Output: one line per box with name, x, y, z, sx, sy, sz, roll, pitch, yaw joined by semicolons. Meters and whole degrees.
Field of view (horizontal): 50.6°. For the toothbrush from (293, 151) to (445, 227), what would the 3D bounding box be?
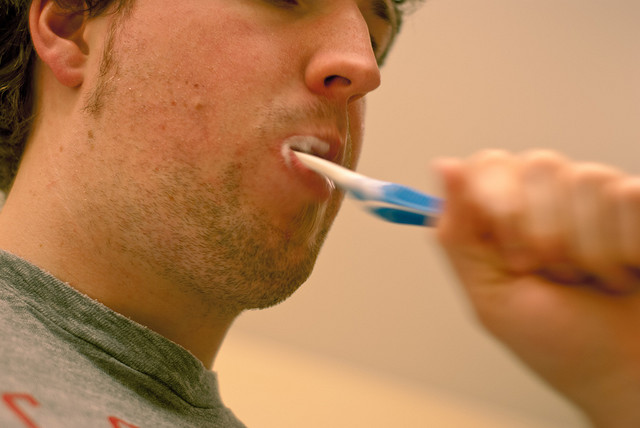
toothbrush;0.061;-0.038;1.001;0.258;0.097;0.063;13;-5;42
